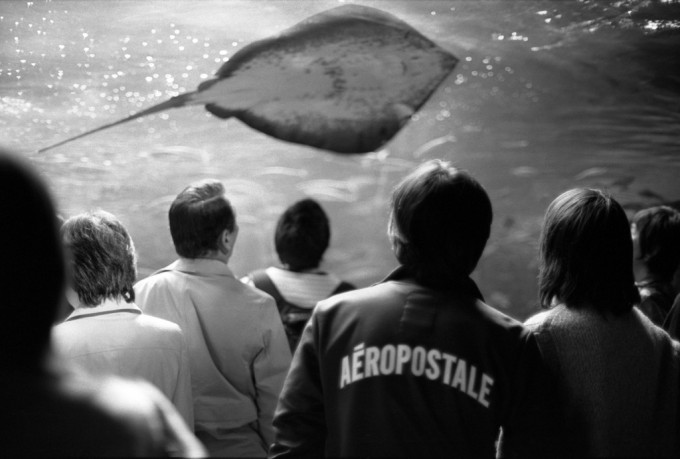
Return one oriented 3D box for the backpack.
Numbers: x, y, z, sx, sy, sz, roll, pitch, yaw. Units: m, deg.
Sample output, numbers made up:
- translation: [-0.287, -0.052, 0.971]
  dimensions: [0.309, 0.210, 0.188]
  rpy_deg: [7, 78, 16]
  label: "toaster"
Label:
- translation: [-0.211, 0.405, 5.438]
  dimensions: [0.765, 0.358, 0.193]
  rpy_deg: [6, -18, -15]
  label: "backpack"
